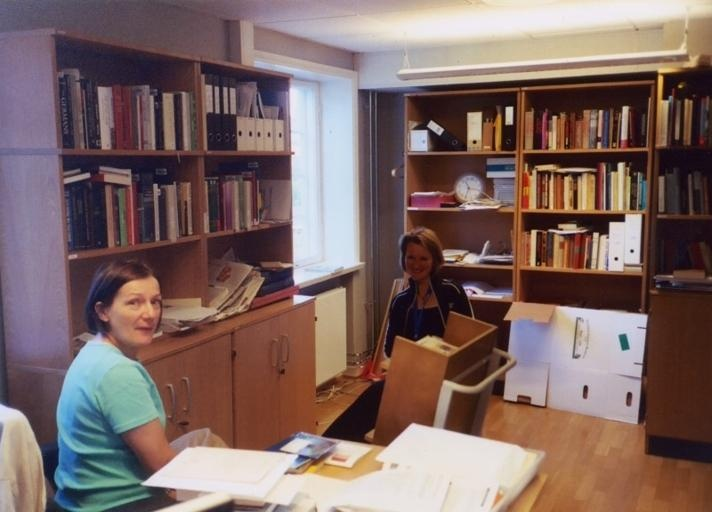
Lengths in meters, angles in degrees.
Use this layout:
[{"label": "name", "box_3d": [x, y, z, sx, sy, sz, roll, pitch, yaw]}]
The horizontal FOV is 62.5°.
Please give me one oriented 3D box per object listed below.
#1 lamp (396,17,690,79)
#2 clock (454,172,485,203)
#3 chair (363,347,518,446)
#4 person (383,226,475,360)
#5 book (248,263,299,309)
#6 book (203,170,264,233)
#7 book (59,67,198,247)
[{"label": "lamp", "box_3d": [1.290, -1.374, 4.242, 1.922, 0.176, 0.304, 1, 9, 27]}, {"label": "clock", "box_3d": [1.042, -0.633, 5.420, 0.253, 0.268, 0.056, 12, 12, 23]}, {"label": "chair", "box_3d": [0.257, 0.575, 2.528, 0.312, 0.403, 0.234, 15, -11, -7]}, {"label": "person", "box_3d": [0.419, 0.207, 3.586, 0.536, 0.735, 0.277, -3, 8, 2]}, {"label": "book", "box_3d": [-0.558, 0.192, 4.031, 0.217, 0.102, 0.297, 2, 7, 27]}, {"label": "book", "box_3d": [-0.784, -0.331, 3.770, 0.328, 0.483, 0.489, 0, 4, 12]}, {"label": "book", "box_3d": [-1.207, -0.515, 3.091, 0.374, 0.955, 0.980, 0, 3, 29]}]
